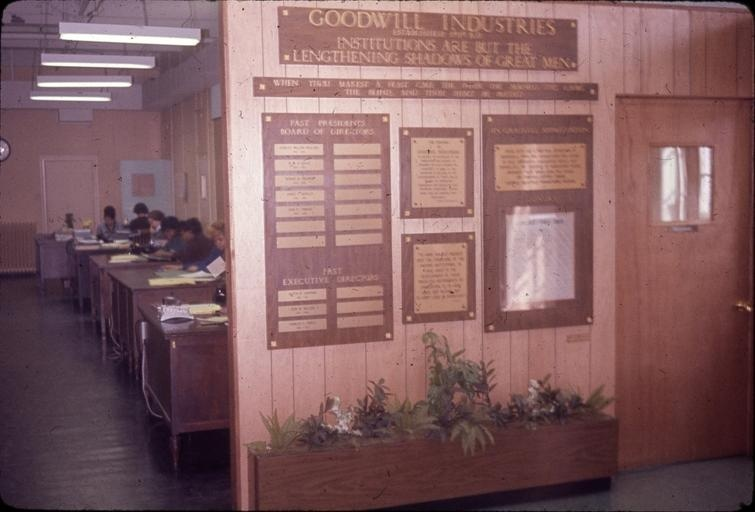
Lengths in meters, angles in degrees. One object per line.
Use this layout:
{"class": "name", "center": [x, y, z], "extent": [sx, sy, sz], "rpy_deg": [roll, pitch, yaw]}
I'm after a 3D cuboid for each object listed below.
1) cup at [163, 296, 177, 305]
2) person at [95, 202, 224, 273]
{"class": "cup", "center": [-2.017, 0.438, 6.985], "extent": [0.111, 0.092, 0.115], "rpy_deg": [1, 3, 0]}
{"class": "person", "center": [-2.460, -0.233, 9.608], "extent": [1.396, 0.849, 0.998], "rpy_deg": [5, 7, 23]}
